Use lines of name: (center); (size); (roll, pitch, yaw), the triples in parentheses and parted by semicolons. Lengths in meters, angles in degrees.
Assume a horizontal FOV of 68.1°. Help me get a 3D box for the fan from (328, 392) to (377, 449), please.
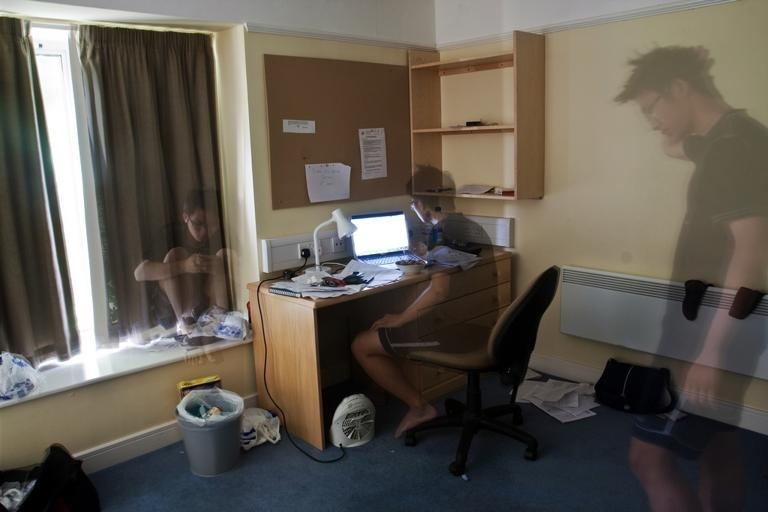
fan: (-0.132, 0.690, 2.352); (0.177, 0.172, 0.105); (-10, 17, -38)

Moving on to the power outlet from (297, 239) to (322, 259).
power outlet: (-0.342, -0.040, 2.631); (0.143, 0.098, 0.072); (-4, 6, -43)

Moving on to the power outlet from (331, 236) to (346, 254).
power outlet: (-0.218, -0.050, 2.671); (0.035, 0.069, 0.065); (-1, -19, 35)

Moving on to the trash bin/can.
trash bin/can: (-0.685, 0.669, 2.343); (0.284, 0.299, 0.304); (-5, 10, -33)

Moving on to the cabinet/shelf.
cabinet/shelf: (0.349, -0.538, 2.240); (0.485, 0.645, 1.213); (-2, 15, 4)

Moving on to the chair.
chair: (0.374, 0.397, 2.218); (0.543, 0.777, 0.559); (8, 15, 36)

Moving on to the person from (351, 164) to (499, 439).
person: (0.119, 0.254, 2.099); (0.448, 1.099, 0.732); (-6, 15, -8)

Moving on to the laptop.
laptop: (0.021, -0.108, 2.643); (0.308, 0.216, 0.249); (-6, 11, -31)

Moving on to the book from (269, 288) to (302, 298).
book: (-0.405, 0.150, 2.317); (0.196, 0.032, 0.009); (8, 18, 37)
